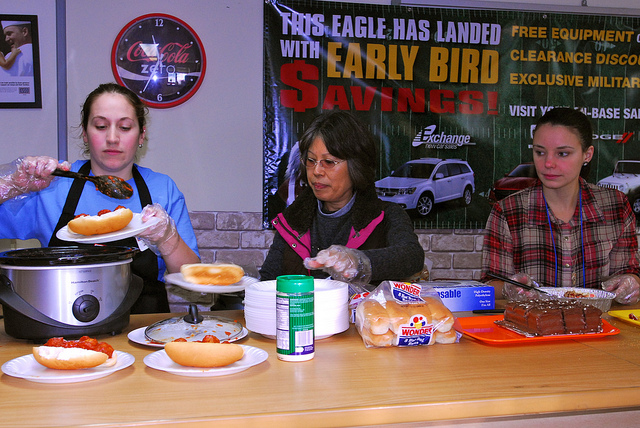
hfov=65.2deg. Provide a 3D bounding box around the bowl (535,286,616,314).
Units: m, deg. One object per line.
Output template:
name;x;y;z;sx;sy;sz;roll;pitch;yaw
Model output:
bowl;1.109;0.355;2.106;0.210;0.050;0.247;3;5;7

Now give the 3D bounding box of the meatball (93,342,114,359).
meatball;-0.693;0.433;1.602;0.044;0.025;0.043;8;27;-40

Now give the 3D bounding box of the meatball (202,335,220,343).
meatball;-0.367;0.405;1.649;0.032;0.017;0.033;5;5;27

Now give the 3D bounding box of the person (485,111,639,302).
person;1.376;-0.084;2.814;0.819;0.981;0.347;3;9;17

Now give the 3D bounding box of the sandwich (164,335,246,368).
sandwich;-0.409;0.451;1.662;0.247;0.095;0.247;7;-1;-10

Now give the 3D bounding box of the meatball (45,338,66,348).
meatball;-0.850;0.408;1.595;0.074;0.020;0.040;1;9;2

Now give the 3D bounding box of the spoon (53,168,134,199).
spoon;-1.016;-0.132;2.240;0.323;0.152;0.164;-4;10;-28

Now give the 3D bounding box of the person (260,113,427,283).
person;0.139;-0.058;2.458;0.726;0.888;0.868;-3;9;-21

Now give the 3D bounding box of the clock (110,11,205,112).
clock;-1.097;-1.060;3.765;0.763;0.738;0.722;-1;10;-5

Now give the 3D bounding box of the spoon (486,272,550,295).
spoon;0.931;0.328;2.369;0.310;0.030;0.033;20;11;18
